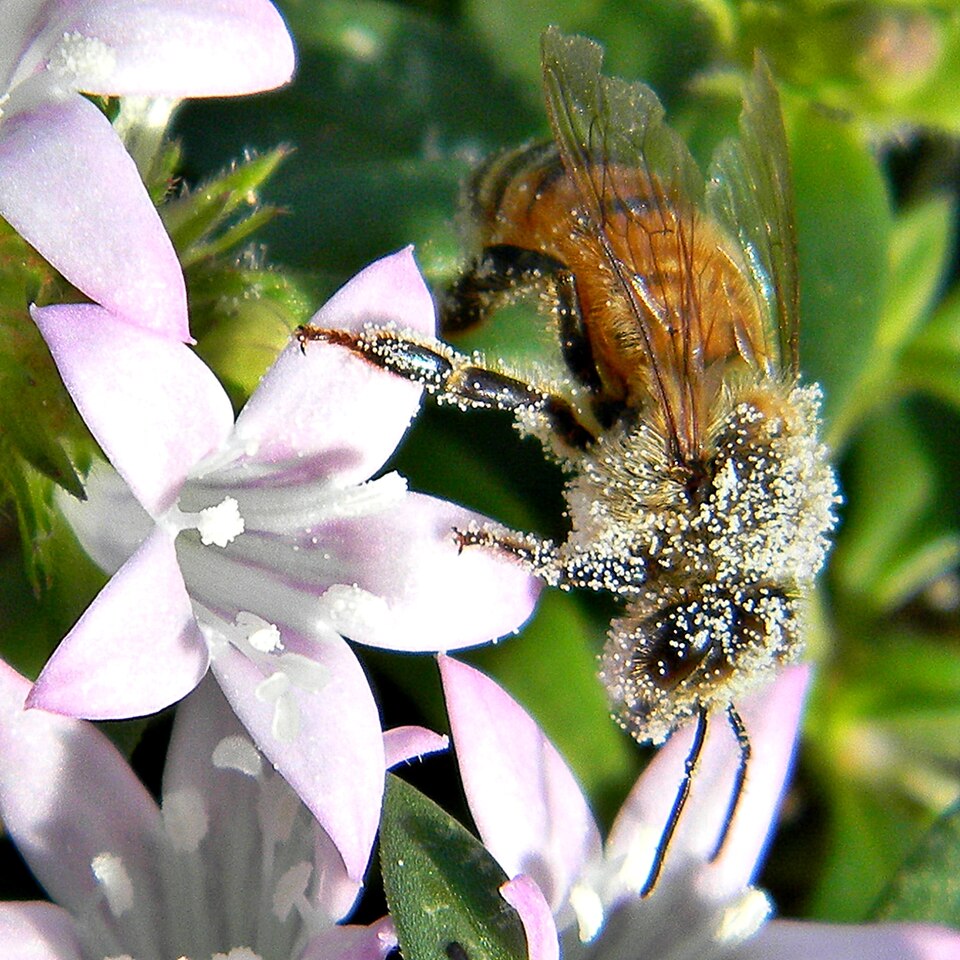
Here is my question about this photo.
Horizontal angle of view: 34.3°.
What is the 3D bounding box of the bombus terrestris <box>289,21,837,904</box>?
[{"bbox_3d":[0.066,0.014,1.342,0.395,0.711,0.355,-1,25,-2],"label":"bombus terrestris"}]
